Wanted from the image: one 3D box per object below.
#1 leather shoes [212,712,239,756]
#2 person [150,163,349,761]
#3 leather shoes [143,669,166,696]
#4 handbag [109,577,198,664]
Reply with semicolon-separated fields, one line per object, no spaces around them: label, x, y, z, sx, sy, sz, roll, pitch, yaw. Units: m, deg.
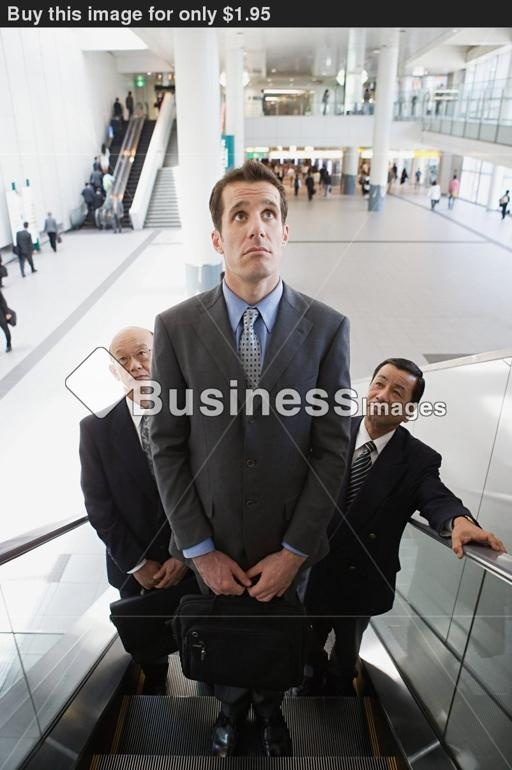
leather shoes;-0.144;1.668;2.388;0.071;0.099;0.223;6;-11;3
person;-0.003;0.458;2.116;0.806;2.540;0.717;-7;27;-14
leather shoes;-0.652;1.929;3.241;0.145;0.165;0.108;0;-14;-4
handbag;-0.727;1.600;3.376;0.643;0.638;0.155;9;22;-41
